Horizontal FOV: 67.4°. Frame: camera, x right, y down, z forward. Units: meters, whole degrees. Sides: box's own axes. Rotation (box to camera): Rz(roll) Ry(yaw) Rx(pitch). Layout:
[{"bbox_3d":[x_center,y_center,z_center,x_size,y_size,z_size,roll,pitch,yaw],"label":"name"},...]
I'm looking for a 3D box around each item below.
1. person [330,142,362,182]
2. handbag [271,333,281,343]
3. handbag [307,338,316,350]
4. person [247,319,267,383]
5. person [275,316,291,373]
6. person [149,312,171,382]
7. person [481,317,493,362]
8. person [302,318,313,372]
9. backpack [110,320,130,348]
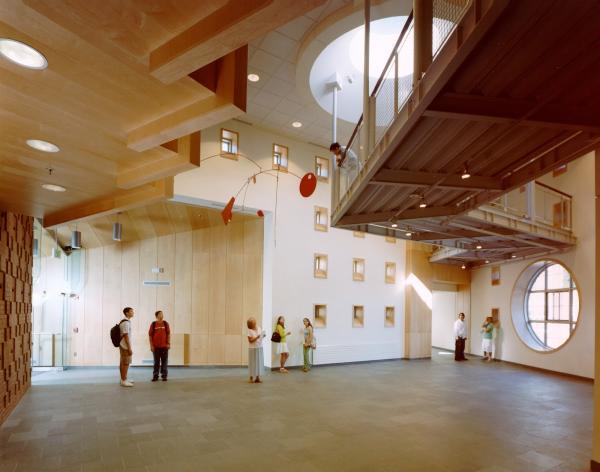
[{"bbox_3d":[1.046,-1.682,10.263,0.548,0.609,1.708,-30,15,1],"label":"person"},{"bbox_3d":[-0.682,2.895,12.870,0.254,0.279,0.343,2,-6,-3],"label":"handbag"},{"bbox_3d":[0.318,3.259,13.586,0.307,0.308,0.081,6,-17,-35],"label":"handbag"},{"bbox_3d":[-1.150,2.933,11.564,0.367,1.584,0.844,1,-6,-2],"label":"person"},{"bbox_3d":[-0.509,3.215,13.370,0.431,1.632,1.328,1,-6,-1],"label":"person"},{"bbox_3d":[-3.601,2.807,11.509,0.479,1.710,0.612,3,-6,-19],"label":"person"},{"bbox_3d":[7.080,3.880,16.981,0.417,1.633,0.781,-1,-6,23],"label":"person"},{"bbox_3d":[0.255,3.317,13.784,0.368,1.545,1.011,1,-6,0],"label":"person"},{"bbox_3d":[-4.240,2.330,10.705,0.601,0.658,0.386,-1,-3,-13],"label":"backpack"}]
